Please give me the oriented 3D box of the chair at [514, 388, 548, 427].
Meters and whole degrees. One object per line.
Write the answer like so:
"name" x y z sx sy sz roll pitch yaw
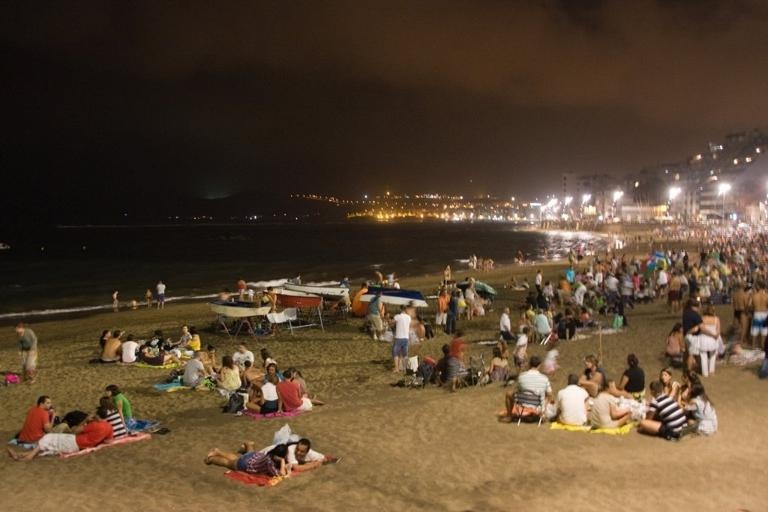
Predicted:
"chair" 3.891 3.914 14.886 0.743 0.895 0.954 3 9 12

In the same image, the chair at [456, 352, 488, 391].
"chair" 2.901 3.751 18.228 0.928 1.346 1.034 2 -3 6

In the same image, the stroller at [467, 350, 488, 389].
"stroller" 3.048 3.753 18.384 0.713 1.279 0.909 -2 -11 11
